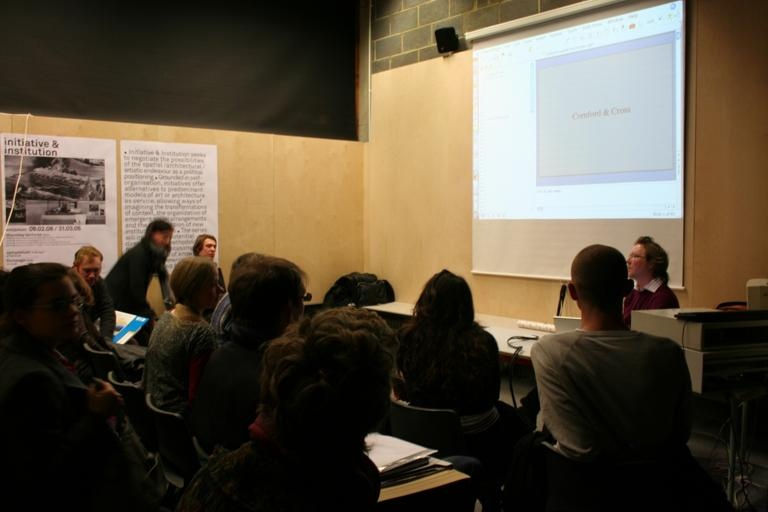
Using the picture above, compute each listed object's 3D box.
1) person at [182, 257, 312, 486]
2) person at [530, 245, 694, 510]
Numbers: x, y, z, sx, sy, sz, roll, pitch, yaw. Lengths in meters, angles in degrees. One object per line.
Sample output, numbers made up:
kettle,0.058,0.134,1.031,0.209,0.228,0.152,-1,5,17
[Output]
person,-0.560,0.546,2.621,0.367,1.102,0.435,5,17,21
person,0.989,0.529,2.506,0.655,1.153,0.344,0,2,26
